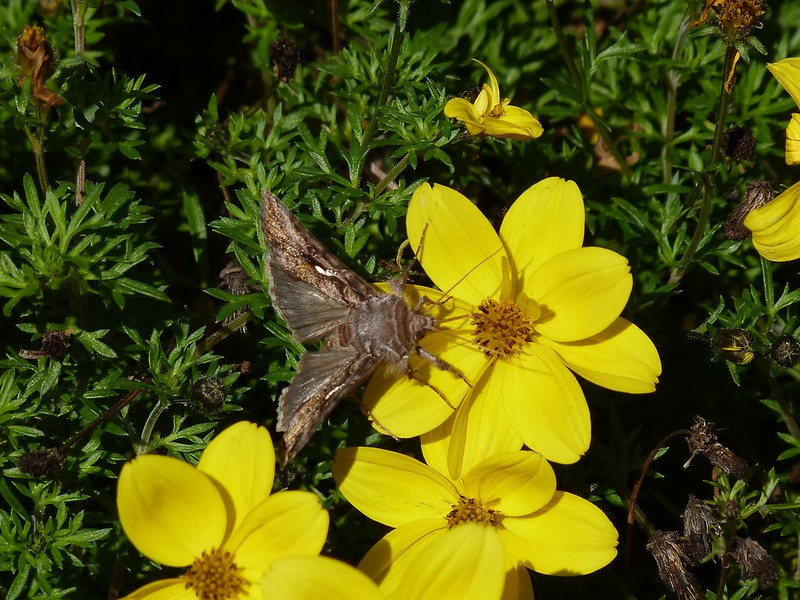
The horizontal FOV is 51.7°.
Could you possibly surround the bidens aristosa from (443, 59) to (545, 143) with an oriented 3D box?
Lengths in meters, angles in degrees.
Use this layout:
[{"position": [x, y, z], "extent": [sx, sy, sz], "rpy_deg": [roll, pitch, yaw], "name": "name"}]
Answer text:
[{"position": [0.322, -0.616, 2.746], "extent": [0.276, 0.108, 0.300], "rpy_deg": [33, 41, -8], "name": "bidens aristosa"}]
